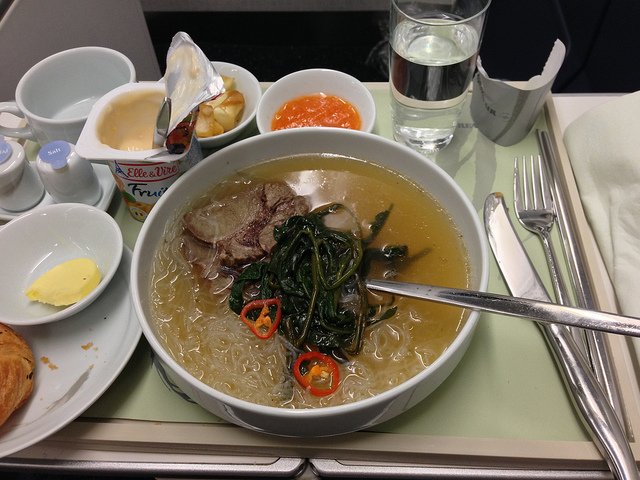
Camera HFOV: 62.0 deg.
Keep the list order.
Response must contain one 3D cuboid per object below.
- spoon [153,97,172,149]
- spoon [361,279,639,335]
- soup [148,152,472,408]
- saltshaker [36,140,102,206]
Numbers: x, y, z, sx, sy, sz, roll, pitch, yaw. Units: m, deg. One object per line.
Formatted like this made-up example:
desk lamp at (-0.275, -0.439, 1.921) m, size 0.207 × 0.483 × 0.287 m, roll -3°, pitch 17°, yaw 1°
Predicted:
spoon at (-0.551, -0.435, 1.874) m, size 0.055 × 0.361 × 0.039 m, roll -27°, pitch 97°, yaw -16°
spoon at (0.587, 0.236, 1.807) m, size 0.737 × 0.058 × 0.083 m, roll 9°, pitch 57°, yaw 5°
soup at (-0.069, 0.142, 1.976) m, size 1.135 × 0.306 × 1.294 m, roll 1°, pitch 49°, yaw -1°
saltshaker at (-1.012, -0.265, 2.145) m, size 0.180 × 0.183 × 0.108 m, roll 38°, pitch 59°, yaw 20°
